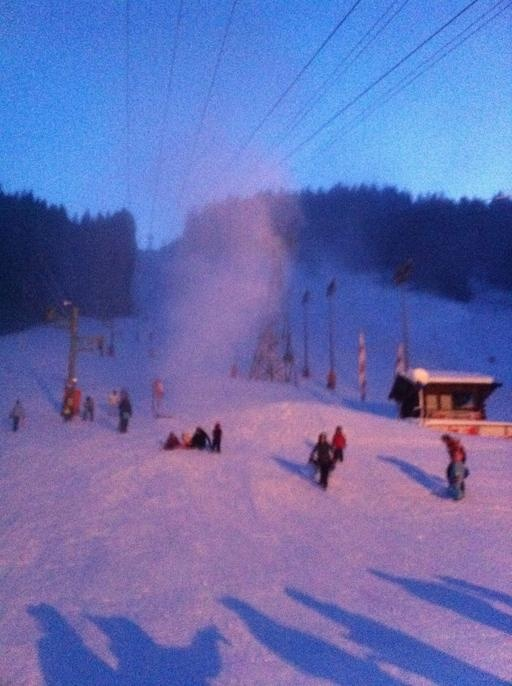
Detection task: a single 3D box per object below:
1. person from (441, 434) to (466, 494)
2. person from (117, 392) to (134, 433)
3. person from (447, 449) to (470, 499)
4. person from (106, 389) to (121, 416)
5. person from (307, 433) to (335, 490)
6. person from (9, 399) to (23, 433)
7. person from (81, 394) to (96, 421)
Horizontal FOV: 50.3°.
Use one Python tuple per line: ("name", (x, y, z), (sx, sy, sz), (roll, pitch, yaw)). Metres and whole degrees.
("person", (5.135, 3.185, 14.181), (0.399, 1.641, 0.918), (-2, 4, 4))
("person", (-4.738, 2.571, 19.760), (0.444, 1.538, 0.719), (-1, 3, -20))
("person", (4.766, 3.178, 12.964), (0.267, 0.911, 0.900), (2, 5, 5))
("person", (-6.423, 2.761, 24.551), (0.567, 1.674, 0.463), (3, 0, 3))
("person", (1.708, 2.941, 13.856), (0.480, 1.591, 0.487), (6, 22, 23))
("person", (-8.703, 2.564, 19.817), (0.418, 1.133, 2.045), (-1, 5, -25))
("person", (-7.055, 2.789, 23.006), (0.497, 1.799, 0.450), (2, 8, 5))
